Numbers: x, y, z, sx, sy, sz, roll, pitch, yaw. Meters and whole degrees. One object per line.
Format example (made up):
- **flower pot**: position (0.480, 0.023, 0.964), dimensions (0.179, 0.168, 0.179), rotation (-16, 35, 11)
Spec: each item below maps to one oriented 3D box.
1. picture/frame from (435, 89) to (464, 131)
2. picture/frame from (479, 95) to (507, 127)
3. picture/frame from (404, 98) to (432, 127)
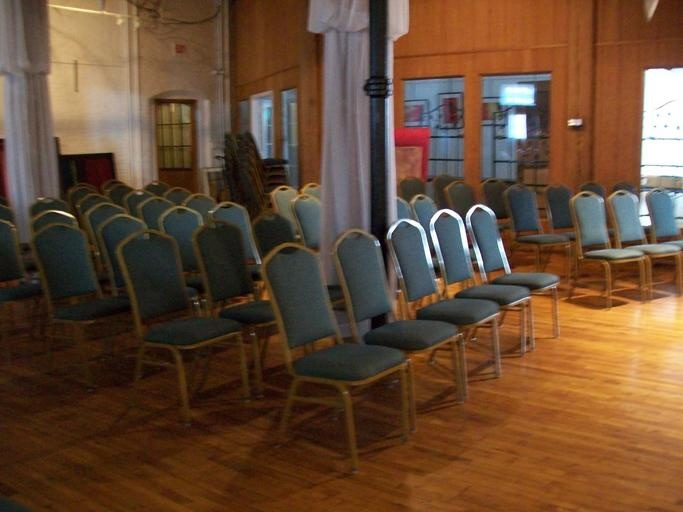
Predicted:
- **picture/frame**: position (1.943, -2.618, 9.843), dimensions (0.484, 0.673, 0.232), rotation (3, 15, 17)
- **picture/frame**: position (2.644, -2.529, 9.528), dimensions (0.456, 0.472, 0.191), rotation (4, 15, 21)
- **picture/frame**: position (1.411, -2.631, 10.059), dimensions (0.731, 0.519, 0.089), rotation (1, -6, 16)
